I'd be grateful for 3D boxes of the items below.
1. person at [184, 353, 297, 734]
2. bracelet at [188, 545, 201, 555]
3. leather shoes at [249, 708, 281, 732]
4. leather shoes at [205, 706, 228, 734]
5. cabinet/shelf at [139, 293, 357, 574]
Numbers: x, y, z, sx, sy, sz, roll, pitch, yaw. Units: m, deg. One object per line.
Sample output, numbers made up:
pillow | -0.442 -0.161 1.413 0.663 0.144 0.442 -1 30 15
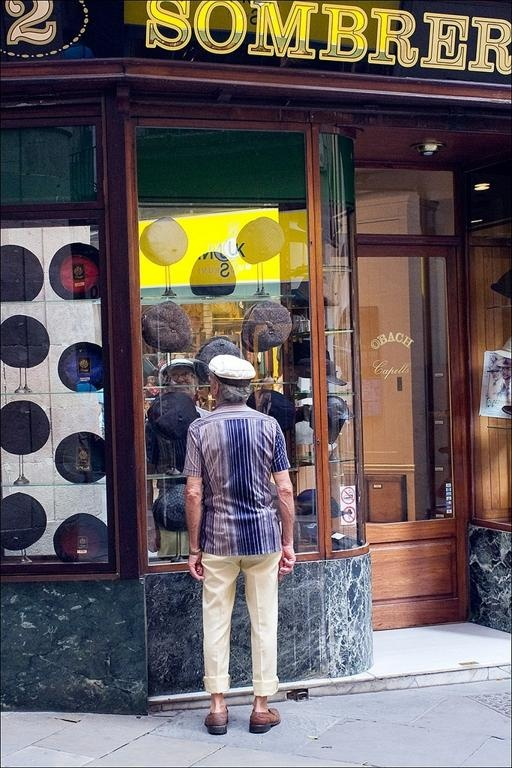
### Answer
person | -0.073 0.755 5.066 0.515 1.760 0.361 -1 7 -4
bracelet | -0.289 0.792 5.081 0.080 0.036 0.106 1 2 1
leather shoes | 0.031 1.590 5.045 0.068 0.065 0.178 -1 2 17
leather shoes | -0.184 1.593 5.039 0.132 0.106 0.285 0 1 -3
cabinet/shelf | -0.091 0.254 5.400 1.601 1.672 0.568 -1 -3 -8
